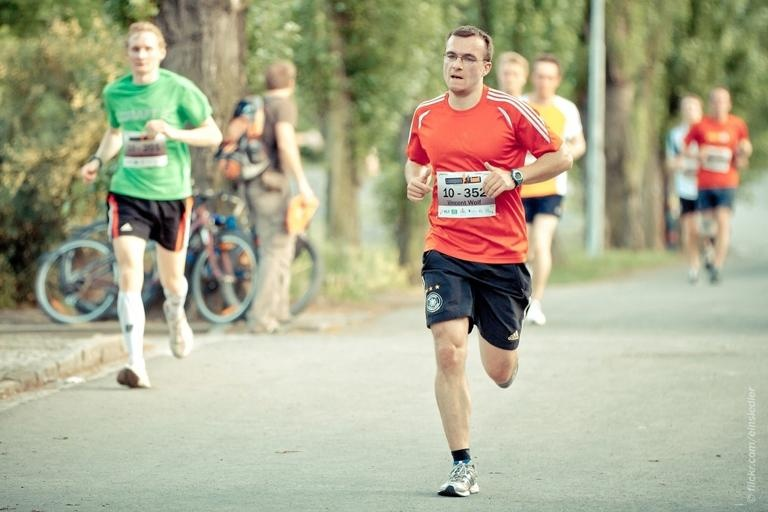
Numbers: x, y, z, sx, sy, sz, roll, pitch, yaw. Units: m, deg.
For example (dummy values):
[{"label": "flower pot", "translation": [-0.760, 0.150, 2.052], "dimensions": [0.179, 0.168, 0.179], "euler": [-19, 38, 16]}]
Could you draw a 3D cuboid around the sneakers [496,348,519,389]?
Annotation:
[{"label": "sneakers", "translation": [0.729, 0.675, 5.840], "dimensions": [0.166, 0.232, 0.240], "euler": [-1, 21, 0]}]

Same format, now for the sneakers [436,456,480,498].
[{"label": "sneakers", "translation": [0.451, 1.247, 5.417], "dimensions": [0.297, 0.179, 0.135], "euler": [-4, 6, -35]}]

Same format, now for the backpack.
[{"label": "backpack", "translation": [-1.477, -1.233, 10.036], "dimensions": [0.599, 0.821, 0.379], "euler": [5, 21, 11]}]

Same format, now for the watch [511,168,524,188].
[{"label": "watch", "translation": [0.768, -0.455, 5.612], "dimensions": [0.076, 0.103, 0.110], "euler": [0, 5, -6]}]

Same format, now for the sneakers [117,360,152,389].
[{"label": "sneakers", "translation": [-1.957, 0.947, 7.458], "dimensions": [0.113, 0.184, 0.225], "euler": [-10, 5, -32]}]

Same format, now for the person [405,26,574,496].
[{"label": "person", "translation": [0.569, -0.034, 5.674], "dimensions": [0.823, 2.674, 0.808], "euler": [-1, 5, -10]}]

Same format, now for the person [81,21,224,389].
[{"label": "person", "translation": [-1.812, -0.406, 7.623], "dimensions": [0.757, 2.832, 0.483], "euler": [-1, 5, -20]}]
